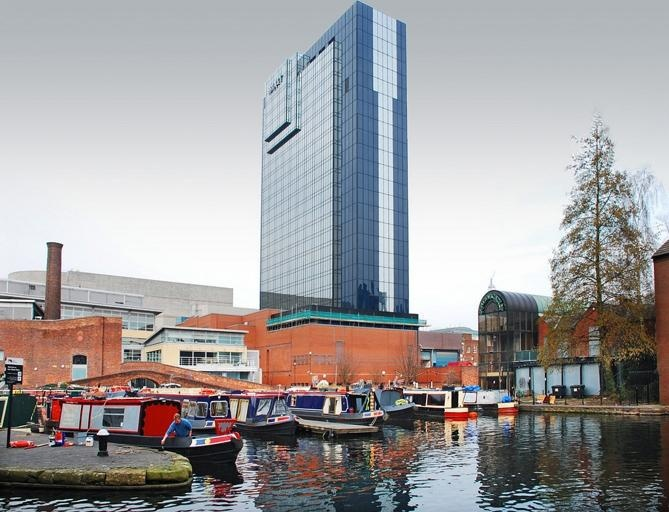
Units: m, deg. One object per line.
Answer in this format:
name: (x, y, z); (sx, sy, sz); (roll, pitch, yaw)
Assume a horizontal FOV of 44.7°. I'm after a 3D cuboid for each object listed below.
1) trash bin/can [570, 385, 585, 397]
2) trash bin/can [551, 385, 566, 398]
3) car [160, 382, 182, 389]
trash bin/can: (25.834, 14.728, 86.354); (1.670, 1.239, 1.317); (-4, -16, 16)
trash bin/can: (24.452, 15.152, 88.624); (1.395, 1.417, 1.547); (5, -11, -7)
car: (-19.262, 15.457, 94.188); (1.124, 0.668, 2.112); (7, -10, -32)
